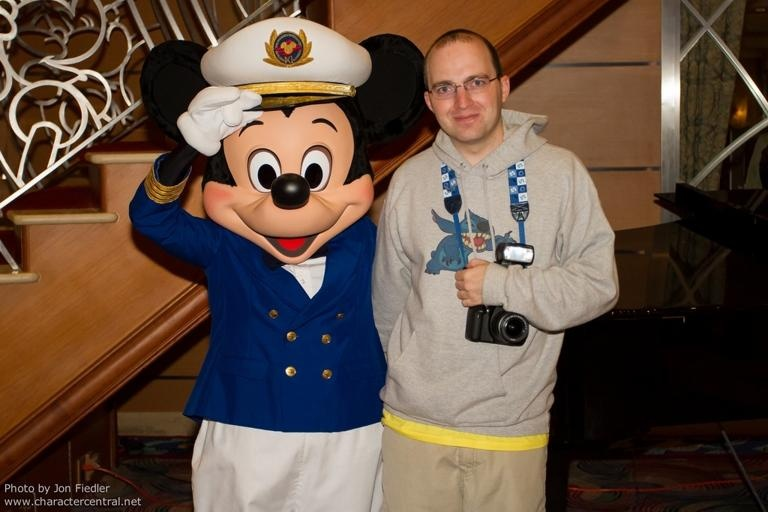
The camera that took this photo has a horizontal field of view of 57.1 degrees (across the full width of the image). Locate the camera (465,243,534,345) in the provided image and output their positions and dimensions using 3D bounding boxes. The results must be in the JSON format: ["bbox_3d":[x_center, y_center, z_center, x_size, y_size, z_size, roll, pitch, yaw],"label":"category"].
[{"bbox_3d":[0.400,0.136,2.348,0.300,0.317,0.123,0,5,1],"label":"camera"}]

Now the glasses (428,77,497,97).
[{"bbox_3d":[0.290,-0.600,2.584,0.240,0.070,0.071,0,9,10],"label":"glasses"}]
